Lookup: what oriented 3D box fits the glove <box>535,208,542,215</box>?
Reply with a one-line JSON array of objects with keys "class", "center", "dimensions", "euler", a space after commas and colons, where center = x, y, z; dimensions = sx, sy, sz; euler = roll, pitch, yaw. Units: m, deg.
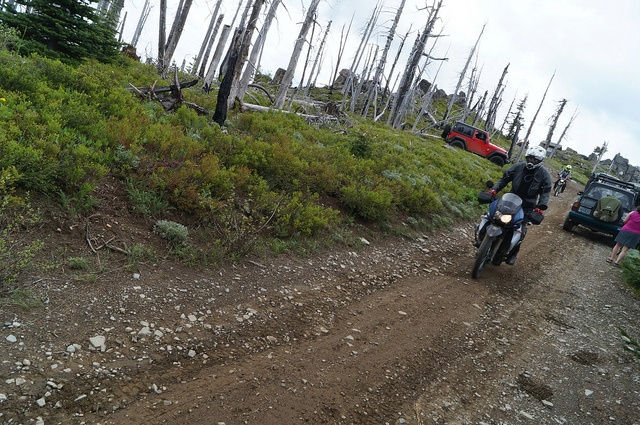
[{"class": "glove", "center": [4.987, -0.032, 8.934], "dimensions": [0.101, 0.107, 0.145], "euler": [20, -19, 39]}]

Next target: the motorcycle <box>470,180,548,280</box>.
[{"class": "motorcycle", "center": [4.191, 0.596, 9.288], "dimensions": [1.348, 1.647, 0.772], "euler": [12, 15, -16]}]

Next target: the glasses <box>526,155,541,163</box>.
[{"class": "glasses", "center": [4.940, -1.212, 9.050], "dimensions": [0.220, 0.205, 0.176], "euler": [38, -14, -27]}]

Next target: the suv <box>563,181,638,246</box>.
[{"class": "suv", "center": [10.973, -0.240, 15.178], "dimensions": [1.592, 1.412, 2.925], "euler": [17, 28, 37]}]

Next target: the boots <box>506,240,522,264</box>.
[{"class": "boots", "center": [4.803, 0.990, 9.726], "dimensions": [0.248, 0.451, 0.816], "euler": [14, 44, 32]}]

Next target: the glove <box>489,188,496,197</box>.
[{"class": "glove", "center": [4.127, -0.481, 9.332], "dimensions": [0.120, 0.067, 0.172], "euler": [14, 47, -2]}]

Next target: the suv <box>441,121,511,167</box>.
[{"class": "suv", "center": [12.465, -5.206, 30.932], "dimensions": [5.021, 2.645, 2.812], "euler": [20, 12, 5]}]
